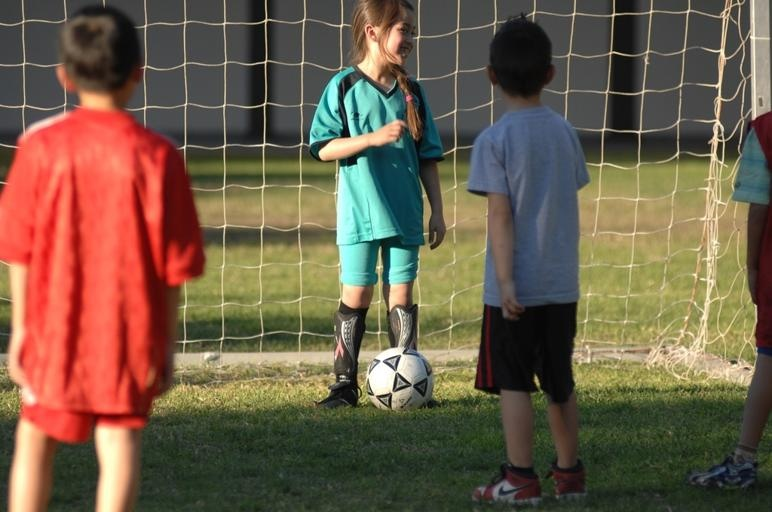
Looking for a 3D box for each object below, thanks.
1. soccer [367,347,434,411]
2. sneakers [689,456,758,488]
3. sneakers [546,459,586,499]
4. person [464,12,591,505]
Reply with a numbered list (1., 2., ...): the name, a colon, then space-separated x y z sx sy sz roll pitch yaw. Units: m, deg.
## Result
1. soccer: 0.109 0.972 8.739 0.400 0.410 0.409 -18 -1 31
2. sneakers: 2.246 1.417 7.785 0.469 0.243 0.184 2 -2 -4
3. sneakers: 1.164 1.420 7.572 0.137 0.193 0.302 -1 4 -1
4. person: 0.907 0.023 7.491 0.770 2.979 0.852 0 14 0
